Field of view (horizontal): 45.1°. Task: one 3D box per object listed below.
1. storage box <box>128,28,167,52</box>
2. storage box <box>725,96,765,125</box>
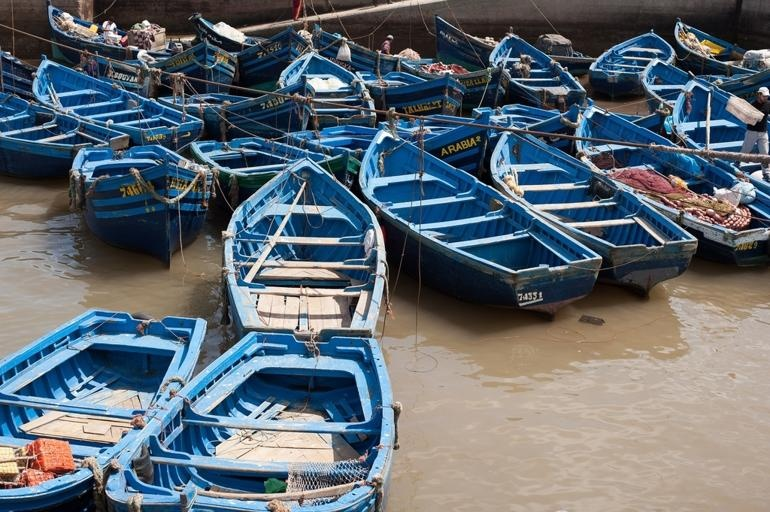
[{"bbox_3d":[-7.736,-7.208,30.957,0.767,0.459,1.238,30,32,36],"label":"storage box"},{"bbox_3d":[8.633,-3.515,22.357,0.861,0.272,0.646,38,32,31],"label":"storage box"}]
